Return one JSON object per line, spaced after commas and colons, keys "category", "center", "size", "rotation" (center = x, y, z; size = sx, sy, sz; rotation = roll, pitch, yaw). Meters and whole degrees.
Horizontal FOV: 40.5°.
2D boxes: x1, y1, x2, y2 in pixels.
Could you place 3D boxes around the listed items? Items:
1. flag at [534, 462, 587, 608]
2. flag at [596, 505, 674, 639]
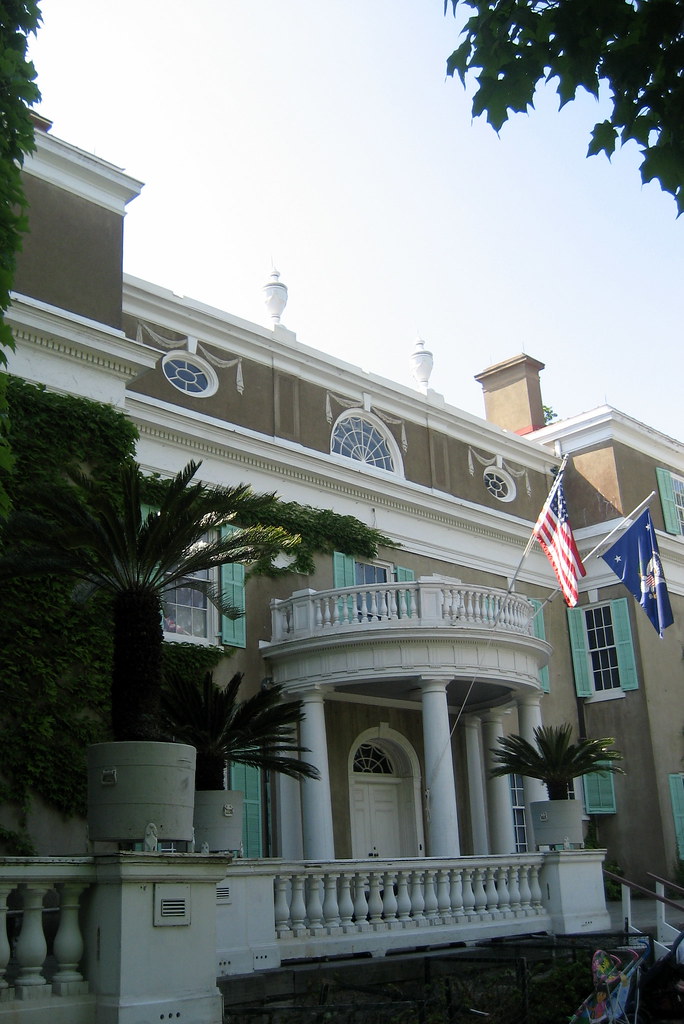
{"category": "flag", "center": [3.952, 0.303, 17.172], "size": [0.708, 3.029, 1.139], "rotation": [-8, -21, 12]}
{"category": "flag", "center": [5.888, 1.162, 18.489], "size": [0.920, 2.613, 0.653], "rotation": [-9, -21, 14]}
